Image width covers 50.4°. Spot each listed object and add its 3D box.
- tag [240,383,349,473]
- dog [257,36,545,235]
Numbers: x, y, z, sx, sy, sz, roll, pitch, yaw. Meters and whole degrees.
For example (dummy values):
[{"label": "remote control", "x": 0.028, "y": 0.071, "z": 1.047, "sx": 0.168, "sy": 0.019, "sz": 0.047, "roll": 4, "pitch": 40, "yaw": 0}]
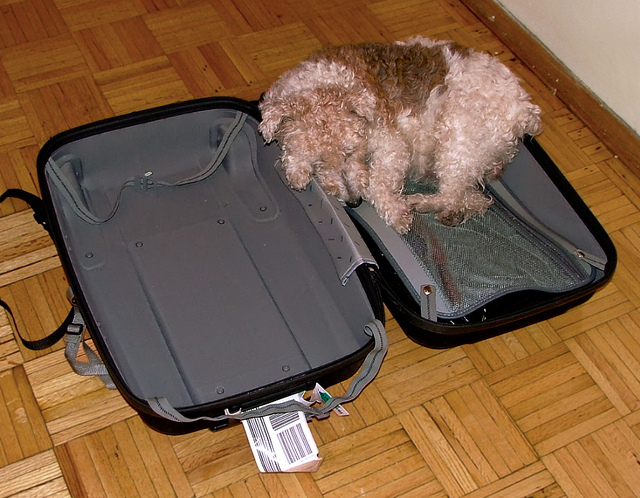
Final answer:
[{"label": "tag", "x": -0.113, "y": 0.548, "z": 1.951, "sx": 0.260, "sy": 0.075, "sz": 0.284, "roll": -23, "pitch": 90, "yaw": -12}, {"label": "dog", "x": 0.251, "y": -0.357, "z": 2.112, "sx": 0.864, "sy": 0.348, "sz": 0.540, "roll": -5, "pitch": 65, "yaw": -10}]
